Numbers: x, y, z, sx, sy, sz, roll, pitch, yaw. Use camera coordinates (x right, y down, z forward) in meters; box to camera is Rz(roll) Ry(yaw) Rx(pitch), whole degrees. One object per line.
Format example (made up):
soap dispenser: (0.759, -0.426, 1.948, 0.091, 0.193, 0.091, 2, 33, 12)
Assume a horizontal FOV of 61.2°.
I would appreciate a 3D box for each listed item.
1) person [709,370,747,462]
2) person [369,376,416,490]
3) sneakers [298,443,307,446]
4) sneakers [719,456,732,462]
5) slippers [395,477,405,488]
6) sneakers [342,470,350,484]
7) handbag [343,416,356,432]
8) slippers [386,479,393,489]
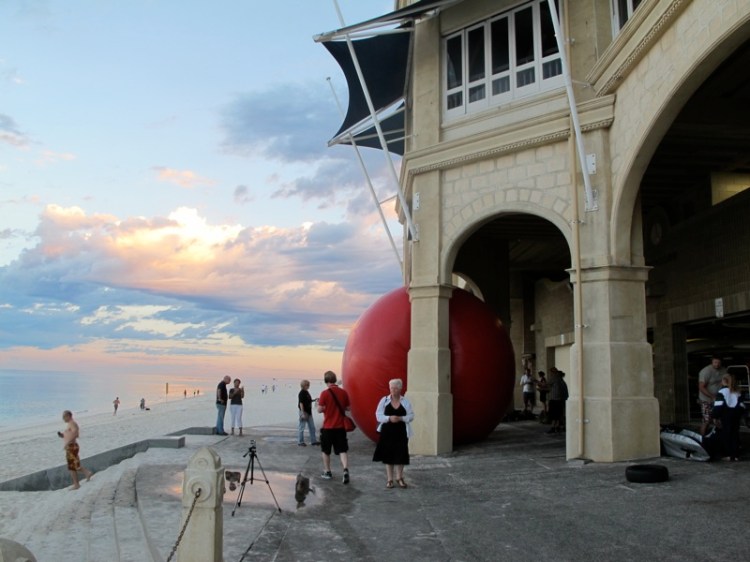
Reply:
person: (7.023, 2.662, 12.532, 0.537, 1.663, 0.701, -9, -11, 44)
person: (0.351, 2.783, 11.686, 0.695, 1.921, 1.136, -1, -9, 2)
sneakers: (-1.861, 4.216, 16.343, 0.181, 0.090, 0.072, 1, 1, 2)
sneakers: (6.812, 3.445, 12.297, 0.183, 0.090, 0.069, -3, -4, 44)
slippers: (0.461, 3.630, 11.397, 0.101, 0.105, 0.227, 10, -17, -24)
sneakers: (-0.527, 3.661, 11.762, 0.091, 0.124, 0.284, 0, -38, -2)
handbag: (-0.473, 2.788, 12.363, 0.247, 0.272, 0.090, 2, 31, 29)
slippers: (0.269, 3.650, 11.393, 0.137, 0.122, 0.289, 0, -13, 8)
